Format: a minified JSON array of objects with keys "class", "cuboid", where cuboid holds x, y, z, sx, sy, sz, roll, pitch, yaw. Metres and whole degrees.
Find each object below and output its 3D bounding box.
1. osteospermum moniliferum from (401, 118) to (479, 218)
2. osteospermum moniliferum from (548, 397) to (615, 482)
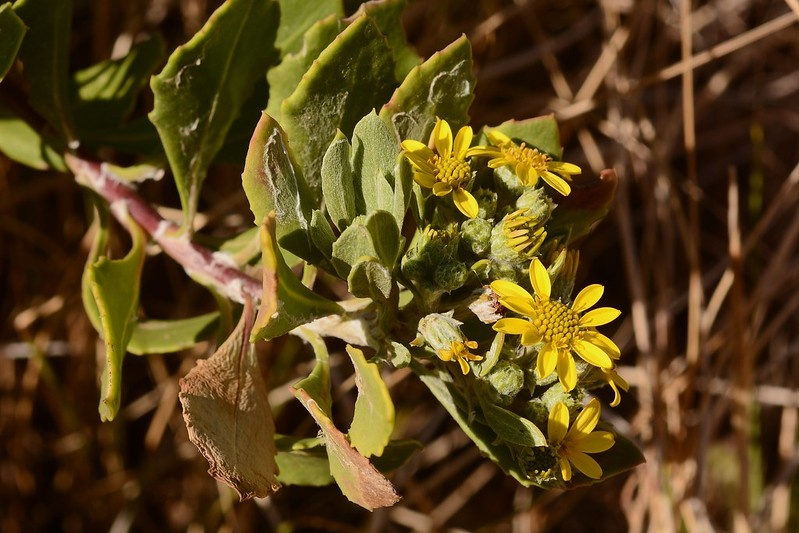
[{"class":"osteospermum moniliferum","cuboid":[0.156,-0.363,3.260,0.312,0.234,0.245,10,36,7]},{"class":"osteospermum moniliferum","cuboid":[0.627,0.598,3.217,0.253,0.262,0.120,-45,13,-9]}]
